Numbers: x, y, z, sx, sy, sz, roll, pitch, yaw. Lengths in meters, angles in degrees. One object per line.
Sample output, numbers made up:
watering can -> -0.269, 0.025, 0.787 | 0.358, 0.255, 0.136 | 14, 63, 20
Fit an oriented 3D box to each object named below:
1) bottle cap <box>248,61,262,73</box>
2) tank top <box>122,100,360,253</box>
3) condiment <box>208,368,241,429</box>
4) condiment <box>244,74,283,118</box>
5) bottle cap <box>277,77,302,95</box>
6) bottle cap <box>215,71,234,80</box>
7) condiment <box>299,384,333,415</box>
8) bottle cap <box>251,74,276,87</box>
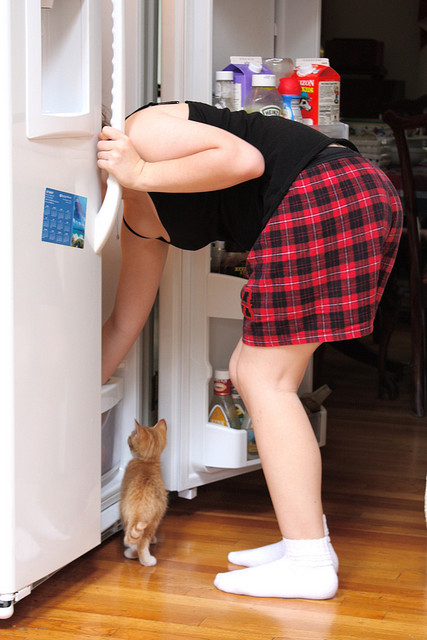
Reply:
bottle cap -> 0.104, -0.630, 1.393 | 0.033, 0.039, 0.024 | 1, -1, 3
tank top -> 0.064, -0.266, 1.021 | 0.366, 0.258, 0.191 | 1, -1, 15
condiment -> 0.024, 0.203, 1.435 | 0.087, 0.152, 0.090 | 0, -1, 21
condiment -> 0.129, -0.538, 1.389 | 0.083, 0.138, 0.075 | -17, 37, -16
bottle cap -> 0.197, -0.609, 1.445 | 0.058, 0.045, 0.056 | 5, 32, 11
bottle cap -> 0.023, -0.587, 1.355 | 0.033, 0.019, 0.033 | 7, 17, 20
condiment -> 0.314, 0.247, 1.732 | 0.078, 0.070, 0.180 | 0, 0, 21
bottle cap -> 0.121, -0.578, 1.359 | 0.058, 0.037, 0.045 | 1, 0, 1
